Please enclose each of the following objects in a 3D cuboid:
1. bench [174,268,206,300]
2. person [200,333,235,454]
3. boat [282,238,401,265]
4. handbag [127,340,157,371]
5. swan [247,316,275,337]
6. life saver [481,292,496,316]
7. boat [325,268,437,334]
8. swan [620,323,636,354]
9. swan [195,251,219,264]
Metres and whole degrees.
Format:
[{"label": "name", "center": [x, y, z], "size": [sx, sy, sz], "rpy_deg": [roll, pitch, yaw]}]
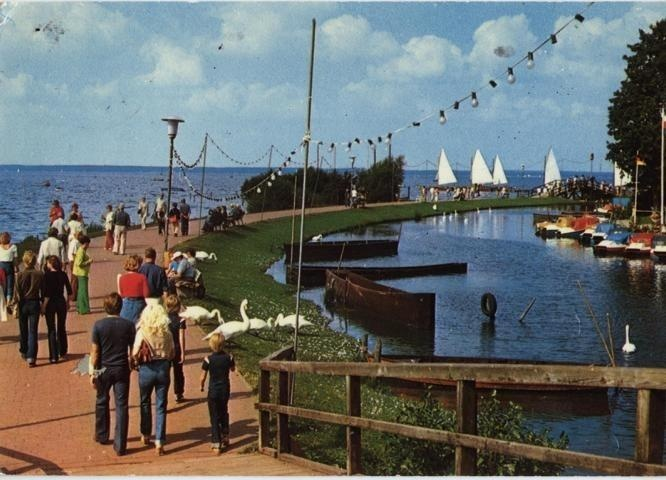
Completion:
[{"label": "bench", "center": [-6.166, 1.948, 47.068], "size": [1.268, 1.286, 0.990], "rpy_deg": [4, -3, -14]}, {"label": "person", "center": [-3.727, 4.854, 35.120], "size": [0.866, 3.744, 0.882], "rpy_deg": [2, 3, 37]}, {"label": "boat", "center": [0.677, 0.690, 70.353], "size": [10.708, 1.550, 2.438], "rpy_deg": [-3, 9, -30]}, {"label": "handbag", "center": [-6.002, 3.607, 34.301], "size": [0.584, 0.770, 0.791], "rpy_deg": [-2, -9, 23]}, {"label": "swan", "center": [-3.161, 3.587, 45.284], "size": [1.333, 0.942, 0.526], "rpy_deg": [0, 0, 35]}, {"label": "life saver", "center": [7.782, 3.256, 54.575], "size": [0.631, 1.161, 1.426], "rpy_deg": [0, 2, -13]}, {"label": "boat", "center": [2.123, 3.000, 55.089], "size": [2.029, 1.834, 10.332], "rpy_deg": [1, 2, -21]}, {"label": "swan", "center": [13.636, 4.602, 50.541], "size": [0.725, 1.753, 1.389], "rpy_deg": [2, 30, 21]}, {"label": "swan", "center": [-6.795, 0.838, 58.193], "size": [0.662, 0.459, 1.372], "rpy_deg": [-24, -23, 25]}]
